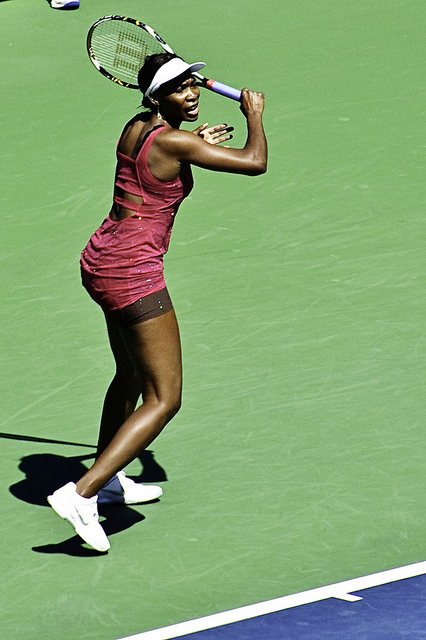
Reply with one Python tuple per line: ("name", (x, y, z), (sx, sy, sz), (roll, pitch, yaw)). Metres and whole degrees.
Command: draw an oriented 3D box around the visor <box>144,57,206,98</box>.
("visor", (-0.122, -0.870, 2.505), (0.256, 0.110, 0.172), (-28, 30, -27))
